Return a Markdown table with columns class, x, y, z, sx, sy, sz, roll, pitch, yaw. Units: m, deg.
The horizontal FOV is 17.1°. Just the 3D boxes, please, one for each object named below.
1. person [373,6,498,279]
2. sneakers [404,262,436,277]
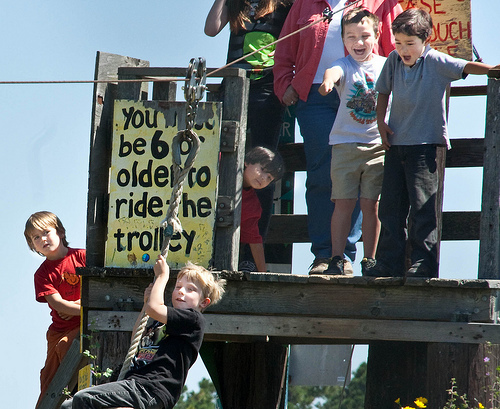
| class | x | y | z | sx | sy | sz | roll | pitch | yaw |
| --- | --- | --- | --- | --- | --- | --- | --- | --- | --- |
| person | 1.494 | -0.523 | 15.000 | 0.685 | 2.411 | 0.813 | 5 | -12 | -11 |
| sneakers | 1.525 | 0.590 | 14.772 | 0.289 | 0.150 | 0.105 | 7 | -13 | -18 |
